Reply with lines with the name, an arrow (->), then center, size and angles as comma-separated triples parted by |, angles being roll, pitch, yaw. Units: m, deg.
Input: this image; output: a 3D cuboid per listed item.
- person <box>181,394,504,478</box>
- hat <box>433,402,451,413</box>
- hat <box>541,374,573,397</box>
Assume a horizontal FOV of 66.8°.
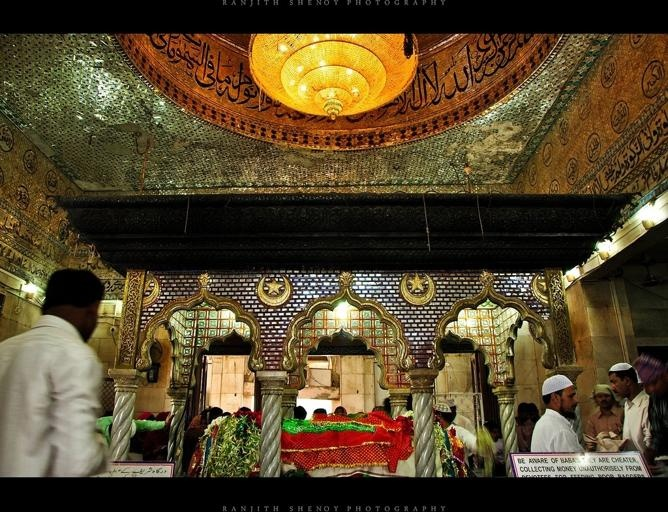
person -> 0.029, 1.622, 4.412 | 2.590, 0.577, 0.759 | 1, -14, -7
hat -> 1.086, 1.502, 5.072 | 0.140, 0.059, 0.108 | 0, -13, 7
hat -> 1.394, 0.805, 3.150 | 0.154, 0.094, 0.155 | -11, -21, 24
